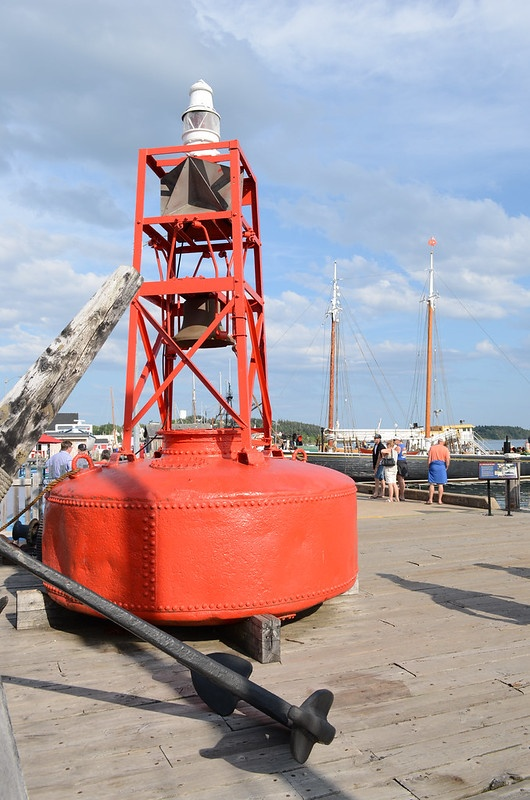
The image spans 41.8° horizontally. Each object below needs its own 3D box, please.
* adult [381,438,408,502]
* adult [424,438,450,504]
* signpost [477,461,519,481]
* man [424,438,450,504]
[{"bbox_3d":[3.036,1.643,16.323,0.492,1.395,2.247,0,-2,12],"label":"adult"},{"bbox_3d":[3.729,1.537,14.920,0.461,1.395,1.860,0,-2,13],"label":"adult"},{"bbox_3d":[4.275,1.336,12.790,1.239,0.344,0.516,3,-3,-41],"label":"signpost"},{"bbox_3d":[3.726,1.536,14.907,0.461,1.395,1.833,0,-2,13],"label":"man"}]
